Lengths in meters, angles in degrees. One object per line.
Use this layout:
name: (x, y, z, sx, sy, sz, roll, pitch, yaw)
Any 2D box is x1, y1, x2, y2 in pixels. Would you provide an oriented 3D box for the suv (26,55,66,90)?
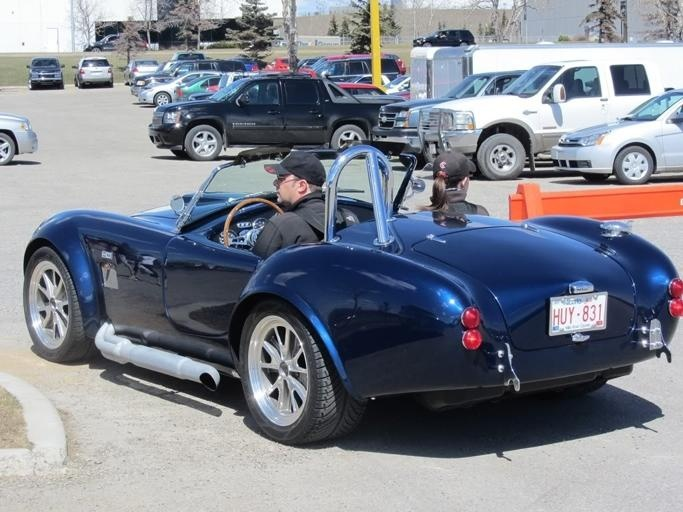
suv: (-19.532, -12.136, 53.260, 1.756, 1.474, 3.308, -2, 1, -13)

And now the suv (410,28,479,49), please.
suv: (3.544, -7.402, 27.277, 2.385, 0.884, 1.079, 3, 5, 2)

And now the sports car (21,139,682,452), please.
sports car: (-0.239, 0.226, 5.445, 3.770, 1.253, 2.218, 10, 12, 42)

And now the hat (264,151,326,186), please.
hat: (-0.311, -0.607, 5.450, 0.350, 0.179, 0.221, 8, 7, -3)

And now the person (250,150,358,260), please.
person: (-0.226, -0.375, 5.519, 0.627, 0.740, 1.093, 8, 13, 38)

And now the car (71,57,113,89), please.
car: (-16.923, -12.733, 54.972, 1.812, 1.303, 3.111, -2, 10, -15)

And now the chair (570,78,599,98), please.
chair: (5.518, -3.856, 18.152, 0.589, 0.589, 0.443, 2, 1, 10)
